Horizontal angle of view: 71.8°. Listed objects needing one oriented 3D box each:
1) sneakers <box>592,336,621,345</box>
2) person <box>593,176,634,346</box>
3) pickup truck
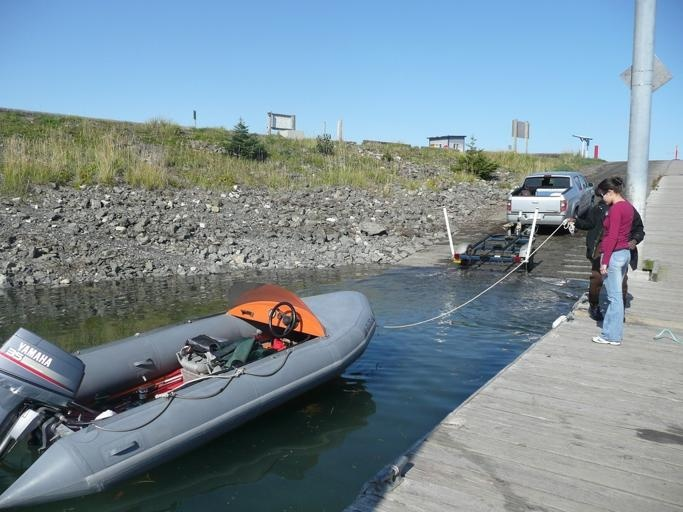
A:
[{"bbox_3d":[3.911,1.279,6.990,0.351,0.122,0.126,2,16,34],"label":"sneakers"},{"bbox_3d":[3.997,0.090,6.984,0.476,2.414,0.852,4,17,28],"label":"person"},{"bbox_3d":[7.450,-2.044,16.960,1.911,1.142,3.875,7,20,36],"label":"pickup truck"}]
